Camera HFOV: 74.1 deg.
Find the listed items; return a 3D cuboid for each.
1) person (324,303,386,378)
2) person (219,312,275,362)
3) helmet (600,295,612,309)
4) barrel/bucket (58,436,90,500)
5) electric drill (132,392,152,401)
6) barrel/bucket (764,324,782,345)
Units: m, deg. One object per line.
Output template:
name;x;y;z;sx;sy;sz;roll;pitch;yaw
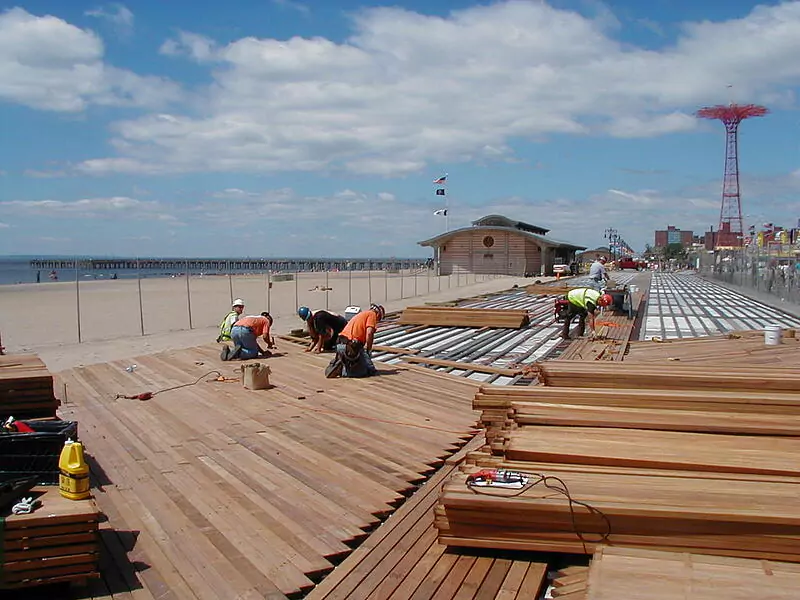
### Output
person;-0.911;0.867;10.823;1.137;1.139;1.286;30;32;32
person;-3.363;0.762;11.619;0.919;0.711;1.462;7;12;16
helmet;4.966;0.027;12.833;0.422;0.233;0.403;1;8;14
barrel/bucket;-2.568;1.333;4.173;0.193;0.439;0.267;-7;5;-32
electric drill;-4.123;1.537;8.561;0.244;0.085;0.360;-3;3;-23
barrel/bucket;8.286;0.780;11.820;0.291;0.376;0.490;-1;4;29
